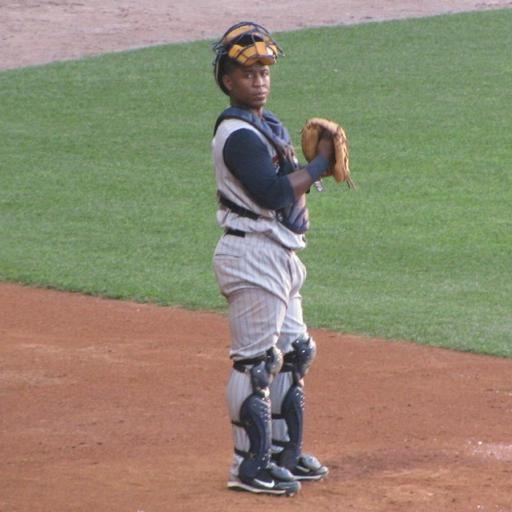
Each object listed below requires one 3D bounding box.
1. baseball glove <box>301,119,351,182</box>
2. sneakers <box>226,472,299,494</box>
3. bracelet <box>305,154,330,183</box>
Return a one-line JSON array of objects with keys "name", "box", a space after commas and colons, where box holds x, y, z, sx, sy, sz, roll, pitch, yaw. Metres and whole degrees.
[{"name": "baseball glove", "box": [0.689, -1.057, 14.427, 0.266, 0.663, 0.467, -5, 6, 0]}, {"name": "sneakers", "box": [0.066, 2.309, 14.602, 0.630, 0.314, 0.245, -1, -2, 6]}, {"name": "bracelet", "box": [0.592, -0.836, 14.319, 0.212, 0.155, 0.125, -43, 26, -17]}]
